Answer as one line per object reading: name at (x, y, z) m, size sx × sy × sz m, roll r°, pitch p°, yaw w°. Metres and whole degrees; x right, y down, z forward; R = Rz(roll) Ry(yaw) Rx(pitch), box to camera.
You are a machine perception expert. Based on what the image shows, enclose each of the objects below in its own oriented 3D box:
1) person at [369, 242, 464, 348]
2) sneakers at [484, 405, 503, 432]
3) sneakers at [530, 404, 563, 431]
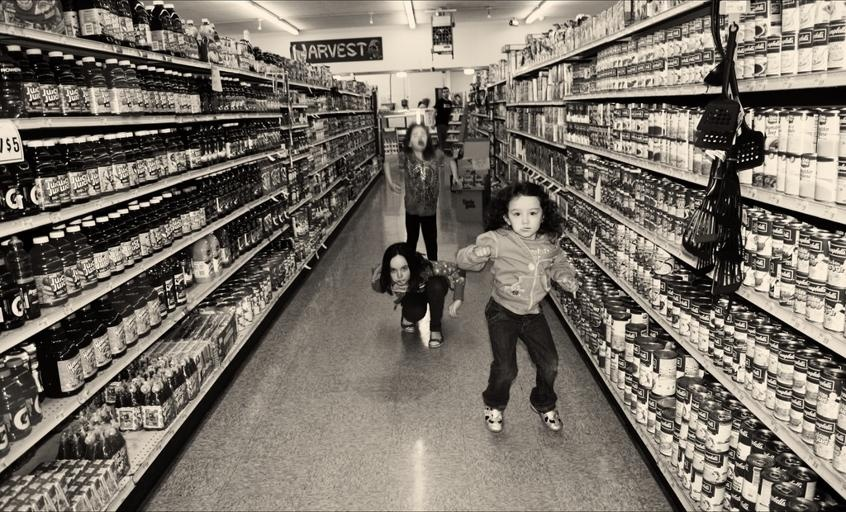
person at (-0.010, 0.279, 5.151) m, size 0.765 × 1.003 × 0.647 m, roll -3°, pitch 29°, yaw 23°
sneakers at (0.513, 1.175, 3.914) m, size 0.090 × 0.083 × 0.198 m, roll 0°, pitch 6°, yaw -2°
sneakers at (0.895, 1.155, 3.985) m, size 0.111 × 0.119 × 0.278 m, roll -6°, pitch 10°, yaw -13°
